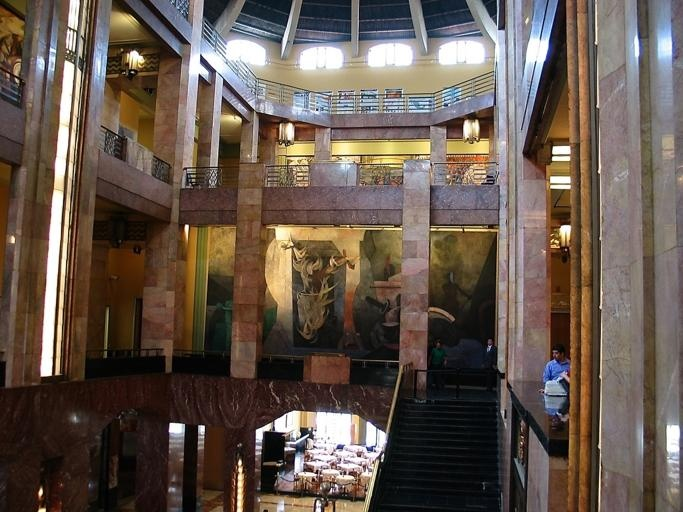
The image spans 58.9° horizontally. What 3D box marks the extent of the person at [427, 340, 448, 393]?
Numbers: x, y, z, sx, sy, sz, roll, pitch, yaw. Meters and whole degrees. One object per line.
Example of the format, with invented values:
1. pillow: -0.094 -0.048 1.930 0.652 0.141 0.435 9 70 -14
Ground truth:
1. person: 2.635 2.908 16.367 0.421 1.323 0.410 3 18 8

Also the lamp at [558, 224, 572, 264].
1. lamp: 4.843 -0.256 13.096 0.225 0.839 0.231 6 3 32

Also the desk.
1. desk: -0.111 6.886 20.119 2.793 1.273 3.785 1 -14 4
